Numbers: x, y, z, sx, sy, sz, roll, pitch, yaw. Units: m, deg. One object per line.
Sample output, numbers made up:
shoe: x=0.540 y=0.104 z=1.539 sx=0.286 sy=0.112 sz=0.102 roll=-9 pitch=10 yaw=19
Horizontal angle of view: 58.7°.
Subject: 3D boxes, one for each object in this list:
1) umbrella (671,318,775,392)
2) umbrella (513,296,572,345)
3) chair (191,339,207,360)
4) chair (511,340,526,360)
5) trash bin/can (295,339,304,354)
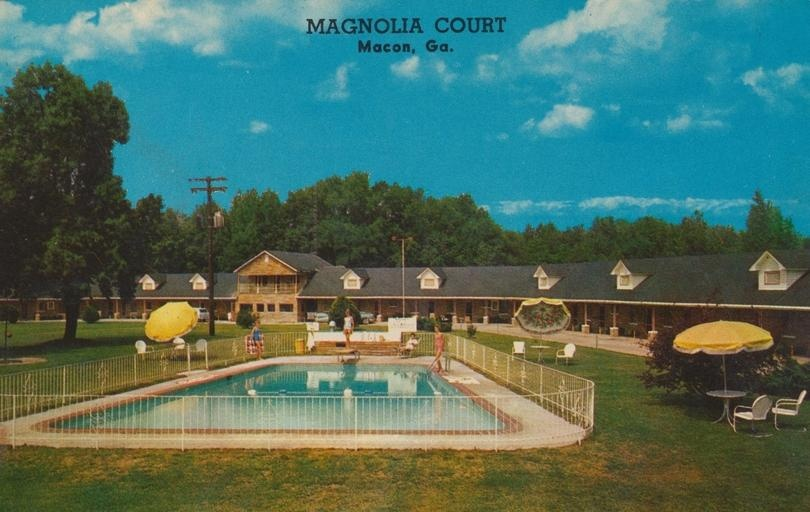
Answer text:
umbrella: x=16.491 y=5.644 z=38.372 sx=4.111 sy=3.471 sz=4.150 roll=-3 pitch=-9 yaw=0
umbrella: x=10.051 y=4.653 z=53.511 sx=3.108 sy=4.217 sz=4.643 roll=1 pitch=14 yaw=6
chair: x=-14.980 y=6.786 z=52.295 sx=1.149 sy=1.484 sz=1.477 roll=1 pitch=1 yaw=8
chair: x=7.999 y=6.687 z=51.135 sx=1.181 sy=1.630 sz=1.145 roll=0 pitch=-13 yaw=2
trash bin/can: x=-7.951 y=6.786 z=54.379 sx=0.913 sy=1.164 sz=0.918 roll=0 pitch=-6 yaw=-13
